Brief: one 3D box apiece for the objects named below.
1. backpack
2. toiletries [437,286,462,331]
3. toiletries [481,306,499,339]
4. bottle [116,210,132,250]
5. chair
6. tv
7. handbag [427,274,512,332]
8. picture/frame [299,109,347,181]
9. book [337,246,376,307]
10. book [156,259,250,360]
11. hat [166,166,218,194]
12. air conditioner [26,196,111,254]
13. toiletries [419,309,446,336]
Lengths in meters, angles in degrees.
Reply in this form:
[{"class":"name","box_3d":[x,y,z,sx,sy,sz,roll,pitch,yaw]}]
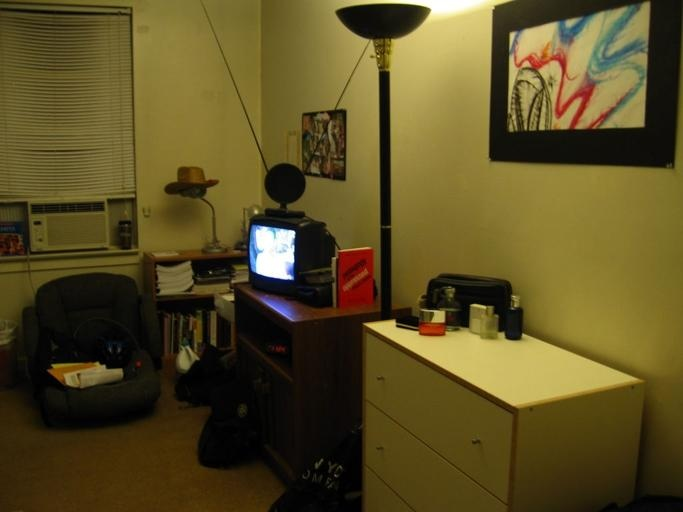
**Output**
[{"class":"backpack","box_3d":[-0.680,0.999,3.463,0.329,0.504,0.176,-3,-10,21]},{"class":"toiletries","box_3d":[0.493,0.240,2.647,0.104,0.186,0.115,-12,7,-37]},{"class":"toiletries","box_3d":[0.651,0.296,2.521,0.069,0.134,0.045,2,3,-12]},{"class":"bottle","box_3d":[-1.859,-0.221,4.913,0.134,0.319,0.159,-3,14,-17]},{"class":"chair","box_3d":[-1.785,0.698,4.226,0.926,0.884,1.235,-7,17,-36]},{"class":"tv","box_3d":[-0.342,0.004,3.805,0.367,0.592,0.628,-3,7,-41]},{"class":"handbag","box_3d":[0.602,0.240,2.714,0.400,0.294,0.147,2,-2,38]},{"class":"picture/frame","box_3d":[-0.122,-0.789,4.098,0.020,0.417,0.519,-5,12,-27]},{"class":"book","box_3d":[0.078,0.132,3.229,0.253,0.383,0.060,-10,16,-35]},{"class":"book","box_3d":[-1.124,0.451,4.611,0.733,0.770,0.257,0,3,-5]},{"class":"hat","box_3d":[-1.248,-0.592,4.794,0.259,0.132,0.317,-2,4,8]},{"class":"air conditioner","box_3d":[-2.263,-0.287,4.803,0.652,0.534,0.384,-1,0,-24]},{"class":"toiletries","box_3d":[0.400,0.299,2.544,0.114,0.122,0.089,1,2,5]}]
